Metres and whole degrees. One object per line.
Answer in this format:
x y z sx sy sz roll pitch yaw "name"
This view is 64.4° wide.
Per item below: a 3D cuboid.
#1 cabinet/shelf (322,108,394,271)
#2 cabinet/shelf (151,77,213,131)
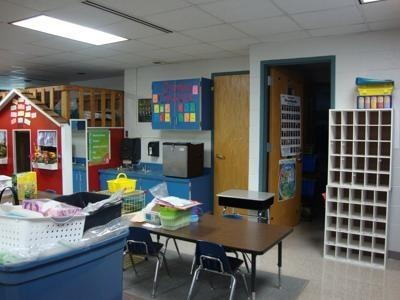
2.337 0.514 4.707 0.873 2.212 0.560 3 6 32 "cabinet/shelf"
-0.317 -0.937 6.527 1.071 0.909 0.431 2 2 29 "cabinet/shelf"
